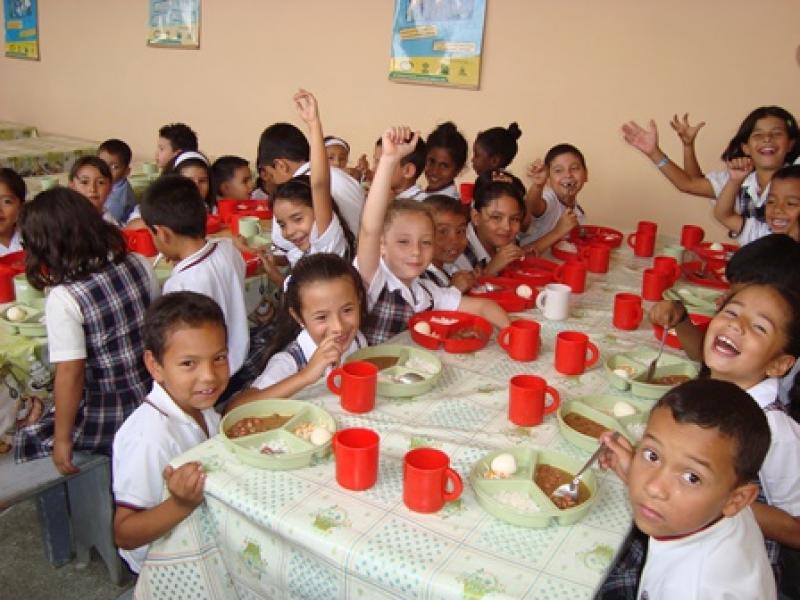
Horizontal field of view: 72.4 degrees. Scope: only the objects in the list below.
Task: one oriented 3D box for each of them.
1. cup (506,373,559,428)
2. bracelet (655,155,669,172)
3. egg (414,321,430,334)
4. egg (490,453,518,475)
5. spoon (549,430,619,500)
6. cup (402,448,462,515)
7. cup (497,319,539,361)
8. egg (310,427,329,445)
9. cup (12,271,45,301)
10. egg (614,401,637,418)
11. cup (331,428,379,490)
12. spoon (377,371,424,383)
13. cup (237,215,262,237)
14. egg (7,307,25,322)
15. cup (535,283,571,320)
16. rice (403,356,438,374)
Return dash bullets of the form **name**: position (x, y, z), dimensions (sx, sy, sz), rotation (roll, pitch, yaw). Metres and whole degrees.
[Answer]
- **cup**: position (0.318, 0.250, 1.394), dimensions (0.161, 0.109, 0.095), rotation (7, 21, 11)
- **bracelet**: position (1.532, -0.814, 3.229), dimensions (0.086, 0.055, 0.087), rotation (14, 40, 40)
- **egg**: position (0.068, 0.088, 1.757), dimensions (0.038, 0.023, 0.043), rotation (11, 16, 2)
- **egg**: position (0.214, 0.348, 1.150), dimensions (0.045, 0.049, 0.040), rotation (6, 59, -3)
- **spoon**: position (0.406, 0.332, 1.170), dimensions (0.240, 0.033, 0.048), rotation (-32, 32, -32)
- **cup**: position (0.050, 0.351, 1.111), dimensions (0.143, 0.097, 0.093), rotation (21, 33, 39)
- **cup**: position (0.347, 0.118, 1.729), dimensions (0.164, 0.126, 0.094), rotation (-5, 32, -4)
- **egg**: position (-0.175, 0.298, 1.194), dimensions (0.035, 0.024, 0.034), rotation (0, 2, 33)
- **cup**: position (-1.386, -0.044, 2.026), dimensions (0.117, 0.075, 0.084), rotation (-3, 14, -31)
- **egg**: position (0.551, 0.273, 1.351), dimensions (0.037, 0.023, 0.044), rotation (-1, 2, 9)
- **cup**: position (-0.099, 0.325, 1.150), dimensions (0.100, 0.090, 0.121), rotation (-1, 27, -6)
- **spoon**: position (0.002, 0.208, 1.457), dimensions (0.182, 0.033, 0.024), rotation (3, 1, -23)
- **cup**: position (-0.854, -0.400, 2.986), dimensions (0.166, 0.107, 0.100), rotation (14, 23, 17)
- **egg**: position (-1.271, 0.051, 1.807), dimensions (0.051, 0.047, 0.026), rotation (16, 11, 3)
- **cup**: position (0.568, -0.004, 2.077), dimensions (0.163, 0.130, 0.096), rotation (-15, 33, -22)
- **rice**: position (0.061, 0.188, 1.564), dimensions (0.069, 0.019, 0.043), rotation (16, 31, 21)
